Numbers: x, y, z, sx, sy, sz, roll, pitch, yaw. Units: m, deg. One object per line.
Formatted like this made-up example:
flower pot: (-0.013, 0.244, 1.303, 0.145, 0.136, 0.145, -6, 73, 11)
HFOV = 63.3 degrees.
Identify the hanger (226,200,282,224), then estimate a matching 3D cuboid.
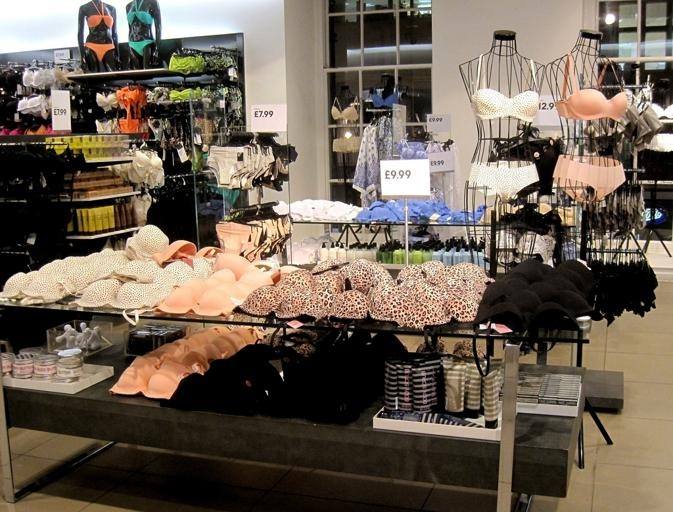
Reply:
hanger: (-0.681, -0.354, 4.488, 0.449, 0.113, 0.176, -11, 2, -41)

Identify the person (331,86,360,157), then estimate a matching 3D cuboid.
person: (0.145, -2.256, 9.010, 0.484, 1.156, 0.618, -1, 11, 0)

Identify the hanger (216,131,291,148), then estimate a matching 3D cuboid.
hanger: (-0.700, -1.020, 4.723, 0.298, 0.133, 0.660, 10, 16, 43)
